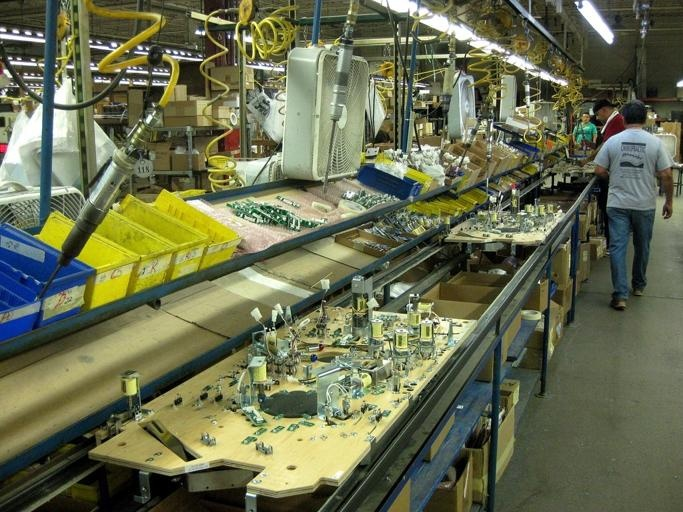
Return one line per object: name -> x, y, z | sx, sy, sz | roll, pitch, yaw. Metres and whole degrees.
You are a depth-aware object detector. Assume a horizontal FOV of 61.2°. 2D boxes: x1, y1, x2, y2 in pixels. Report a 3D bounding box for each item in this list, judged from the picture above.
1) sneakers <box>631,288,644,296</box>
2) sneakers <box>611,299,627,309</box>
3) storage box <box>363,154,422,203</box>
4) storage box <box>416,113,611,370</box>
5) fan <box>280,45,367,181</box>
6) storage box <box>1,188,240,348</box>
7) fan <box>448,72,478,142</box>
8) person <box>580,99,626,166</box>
sneakers -> 3.039, 0.365, 5.940 | 0.062, 0.048, 0.124 | 2, 13, 15
sneakers -> 2.657, 0.455, 5.571 | 0.066, 0.073, 0.168 | -1, 5, -10
storage box -> 0.281, -0.460, 3.537 | 0.337, 0.117, 0.238 | 25, 27, 2
storage box -> 1.409, -0.156, 4.606 | 0.702, 0.697, 2.974 | 16, 34, 25
fan -> -0.092, -0.762, 3.214 | 0.264, 0.674, 0.773 | 8, 13, 18
storage box -> -0.614, -0.003, 1.818 | 0.358, 0.141, 0.667 | 27, 36, 20
fan -> 1.165, -1.423, 5.529 | 0.115, 0.495, 0.580 | 8, 23, 24
person -> 3.647, -1.582, 7.948 | 0.579, 1.008, 0.561 | 1, 21, 20
